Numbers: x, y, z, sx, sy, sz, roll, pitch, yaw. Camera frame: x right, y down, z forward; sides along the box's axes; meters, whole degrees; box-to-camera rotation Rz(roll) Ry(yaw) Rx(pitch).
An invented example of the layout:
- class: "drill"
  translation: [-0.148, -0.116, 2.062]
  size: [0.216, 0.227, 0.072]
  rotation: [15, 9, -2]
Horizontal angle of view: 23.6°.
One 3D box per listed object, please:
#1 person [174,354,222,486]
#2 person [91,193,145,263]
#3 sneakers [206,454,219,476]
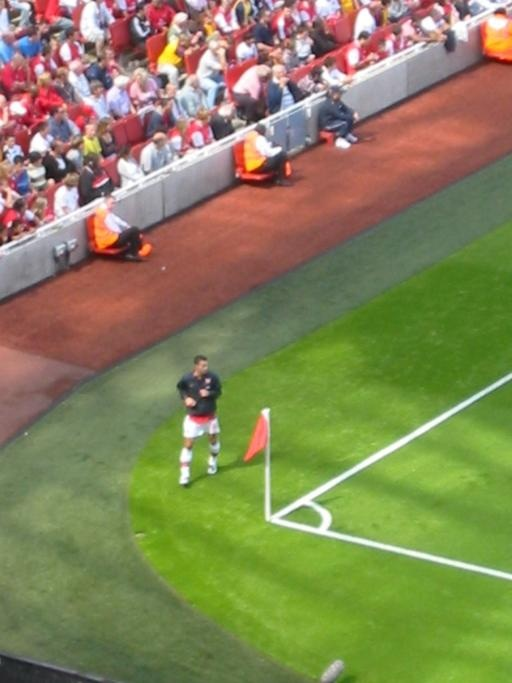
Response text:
- class: "person"
  translation: [-0.642, 0.848, 13.169]
  size: [0.595, 1.472, 0.472]
  rotation: [-9, 21, -3]
- class: "person"
  translation: [-2.023, -1.526, 17.463]
  size: [0.862, 1.374, 0.576]
  rotation: [-11, 63, -13]
- class: "sneakers"
  translation: [-0.476, 1.366, 13.511]
  size: [0.089, 0.158, 0.261]
  rotation: [2, 17, 5]
